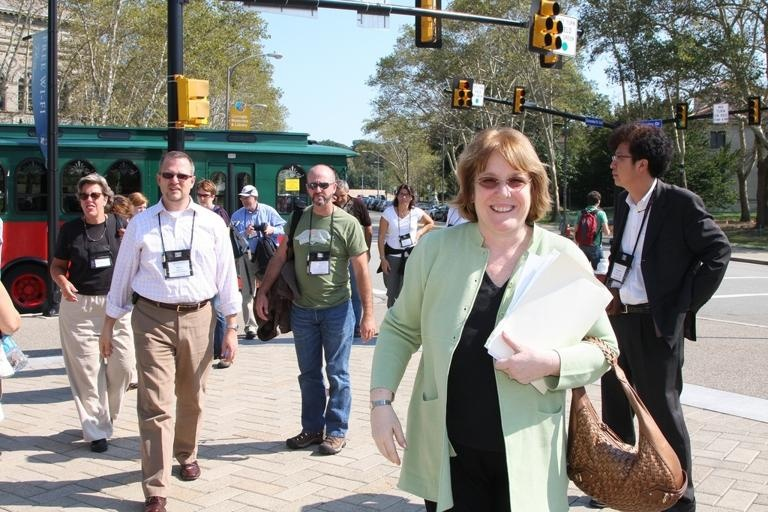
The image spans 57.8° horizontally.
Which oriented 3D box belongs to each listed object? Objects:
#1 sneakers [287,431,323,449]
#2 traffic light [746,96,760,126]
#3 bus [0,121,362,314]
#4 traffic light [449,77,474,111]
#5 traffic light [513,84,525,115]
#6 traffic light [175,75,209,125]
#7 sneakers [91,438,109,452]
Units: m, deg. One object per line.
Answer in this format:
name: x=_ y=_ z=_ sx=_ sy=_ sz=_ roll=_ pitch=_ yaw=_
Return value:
sneakers: x=-0.774 y=1.773 z=6.792 sx=0.366 sy=0.157 sz=0.141 roll=4 pitch=-4 yaw=-29
traffic light: x=13.078 y=-5.168 z=24.601 sx=0.406 sy=0.977 sz=1.297 roll=4 pitch=9 yaw=25
bus: x=-3.848 y=-1.163 z=16.136 sx=10.715 sy=3.904 sz=3.002 roll=-3 pitch=4 yaw=-28
traffic light: x=2.427 y=-5.079 z=21.738 sx=0.587 sy=0.907 sz=0.862 roll=0 pitch=9 yaw=3
traffic light: x=4.520 y=-5.222 z=23.353 sx=0.392 sy=0.942 sz=2.411 roll=2 pitch=9 yaw=12
traffic light: x=-2.826 y=-2.241 z=10.143 sx=0.660 sy=0.732 sz=0.401 roll=-7 pitch=11 yaw=-40
sneakers: x=-2.729 y=1.789 z=6.663 sx=0.170 sy=0.165 sz=0.088 roll=-1 pitch=3 yaw=-20
